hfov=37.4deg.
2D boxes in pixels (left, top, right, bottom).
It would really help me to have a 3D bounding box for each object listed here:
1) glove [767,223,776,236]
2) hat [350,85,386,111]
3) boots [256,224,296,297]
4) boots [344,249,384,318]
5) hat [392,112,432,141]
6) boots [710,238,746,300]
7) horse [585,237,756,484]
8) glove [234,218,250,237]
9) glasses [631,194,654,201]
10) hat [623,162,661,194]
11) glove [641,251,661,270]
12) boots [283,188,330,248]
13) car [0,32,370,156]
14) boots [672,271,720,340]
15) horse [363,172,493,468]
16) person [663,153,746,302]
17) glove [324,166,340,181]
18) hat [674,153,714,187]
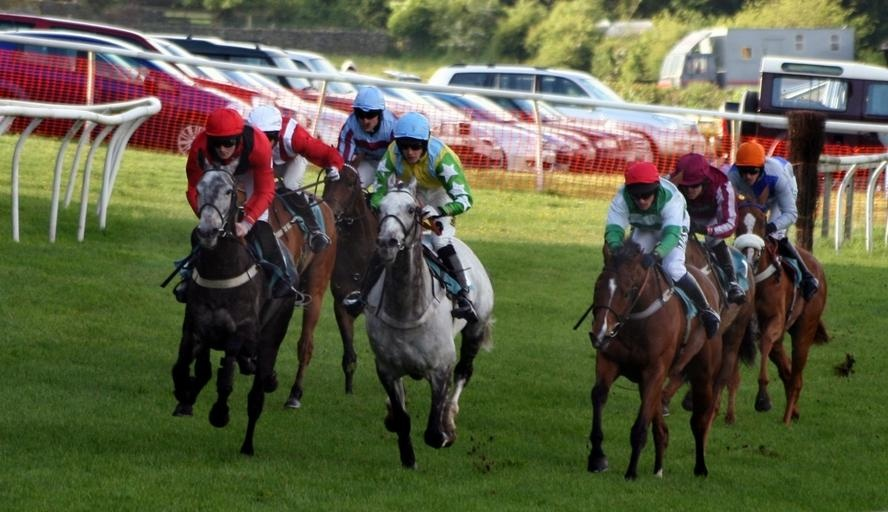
[{"bbox_3d":[4.612,-0.388,18.670,0.177,0.158,0.051,-11,8,-42],"label":"glove"},{"bbox_3d":[-1.071,-2.242,18.609,0.432,0.319,0.321,2,8,-3],"label":"hat"},{"bbox_3d":[-2.246,0.089,17.323,0.330,0.845,0.489,-26,-15,14],"label":"boots"},{"bbox_3d":[-1.059,0.420,17.264,0.257,0.787,0.596,21,30,11],"label":"boots"},{"bbox_3d":[-0.427,-1.694,17.458,0.385,0.339,0.438,-1,-24,5],"label":"hat"},{"bbox_3d":[3.854,0.186,18.078,0.318,0.983,0.282,-27,-4,30],"label":"boots"},{"bbox_3d":[2.948,1.300,17.466,1.120,3.064,2.541,11,12,43],"label":"horse"},{"bbox_3d":[-2.582,-0.352,16.868,0.187,0.218,0.255,2,8,-2],"label":"glove"},{"bbox_3d":[2.580,-0.784,17.295,0.261,0.079,0.082,1,8,-7],"label":"glasses"},{"bbox_3d":[2.611,-1.055,17.405,0.368,0.237,0.468,-5,36,12],"label":"hat"},{"bbox_3d":[2.662,0.065,17.090,0.120,0.217,0.429,-5,-9,22],"label":"glove"},{"bbox_3d":[-1.927,-0.493,18.112,0.446,0.812,0.213,-34,21,-11],"label":"boots"},{"bbox_3d":[-4.909,-2.954,23.573,5.592,1.684,2.398,5,8,-6],"label":"car"},{"bbox_3d":[3.408,0.468,17.457,0.319,0.907,0.338,-17,2,38],"label":"boots"},{"bbox_3d":[-0.251,0.859,17.222,1.096,3.658,1.867,8,10,31],"label":"horse"},{"bbox_3d":[3.667,-0.561,18.227,1.038,2.100,1.358,-13,19,24],"label":"person"},{"bbox_3d":[-1.586,-1.160,18.419,0.207,0.150,0.204,-8,28,1],"label":"glove"},{"bbox_3d":[3.355,-1.168,17.919,0.415,0.295,0.504,2,51,24],"label":"hat"}]
